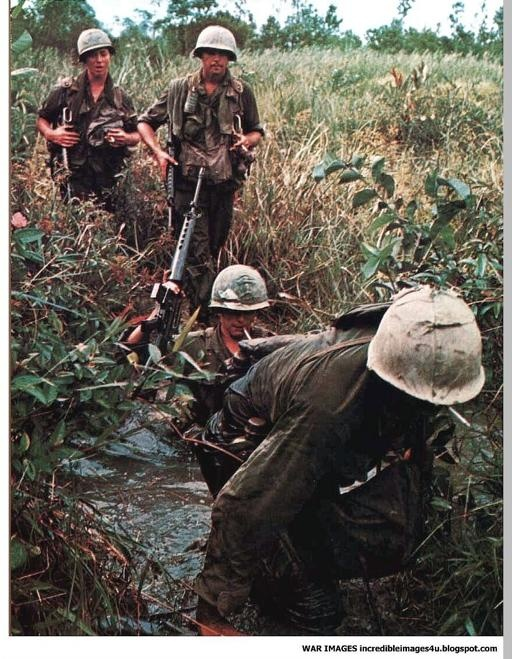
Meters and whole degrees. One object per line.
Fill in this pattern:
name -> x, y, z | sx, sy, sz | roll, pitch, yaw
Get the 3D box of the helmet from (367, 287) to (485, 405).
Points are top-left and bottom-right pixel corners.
helmet -> 0.590, 0.021, 2.260 | 0.401, 0.309, 0.426 | -21, 26, -29

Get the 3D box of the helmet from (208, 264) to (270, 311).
helmet -> -0.076, -0.213, 3.086 | 0.327, 0.187, 0.334 | -7, 12, -18

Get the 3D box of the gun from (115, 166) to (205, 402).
gun -> -0.442, -0.212, 2.893 | 0.131, 1.053, 0.422 | 17, -17, 7

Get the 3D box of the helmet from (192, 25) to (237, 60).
helmet -> -0.182, -1.273, 2.882 | 0.146, 0.086, 0.179 | 7, 8, 25

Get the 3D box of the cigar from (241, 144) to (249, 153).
cigar -> -0.054, -0.813, 2.937 | 0.028, 0.032, 0.012 | -14, 2, -20

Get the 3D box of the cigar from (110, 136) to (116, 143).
cigar -> -0.656, -0.858, 2.956 | 0.019, 0.021, 0.007 | -1, 13, 4

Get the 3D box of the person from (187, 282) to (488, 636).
person -> 0.266, 0.537, 2.487 | 0.971, 1.467, 0.573 | 8, 6, 7

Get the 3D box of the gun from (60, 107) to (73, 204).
gun -> -0.848, -0.792, 2.929 | 0.052, 0.378, 0.050 | 4, 15, 0
